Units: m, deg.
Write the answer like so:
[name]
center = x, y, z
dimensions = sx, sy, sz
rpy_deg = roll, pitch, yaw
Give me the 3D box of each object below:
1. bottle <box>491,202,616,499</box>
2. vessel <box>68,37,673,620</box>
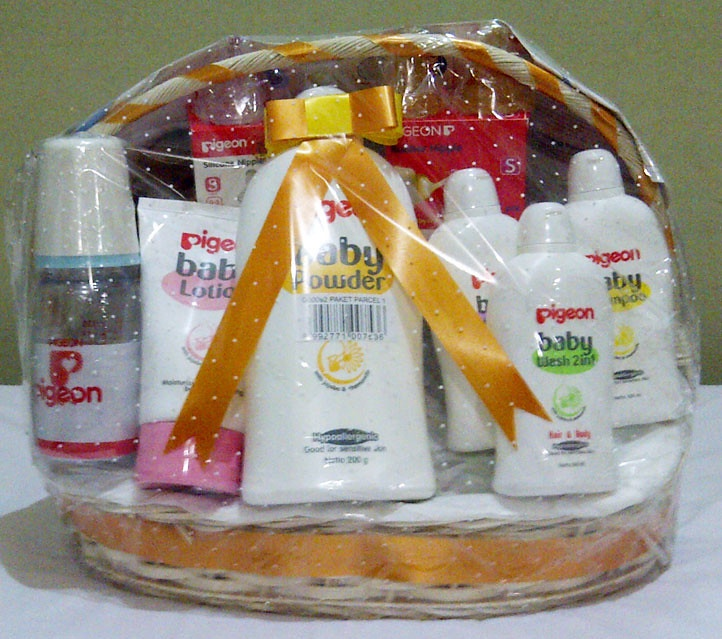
[bottle]
center = 0.143, 0.024, 0.647
dimensions = 0.093, 0.218, 0.091
rpy_deg = -5, 18, 2
[vessel]
center = 0.014, 0.030, 0.906
dimensions = 0.658, 0.353, 0.548
rpy_deg = 2, -10, -11
